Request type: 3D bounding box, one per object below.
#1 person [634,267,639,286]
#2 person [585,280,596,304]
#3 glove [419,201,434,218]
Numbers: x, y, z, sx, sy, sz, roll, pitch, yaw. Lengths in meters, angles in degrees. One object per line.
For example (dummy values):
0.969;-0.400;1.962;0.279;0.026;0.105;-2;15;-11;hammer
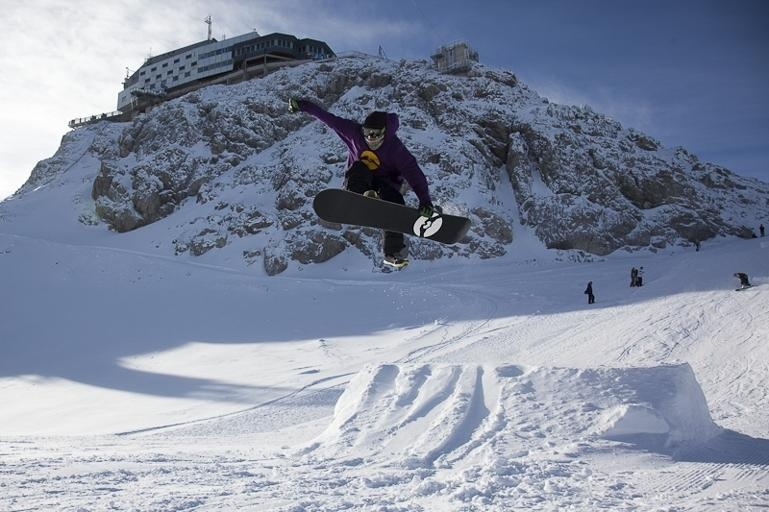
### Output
13.090;1.115;41.148;0.297;0.914;0.344;-3;-10;17;person
10.435;1.882;40.062;0.520;1.311;1.987;-2;-9;14;person
1.521;-1.694;28.381;0.587;0.530;0.409;17;7;-12;glove
